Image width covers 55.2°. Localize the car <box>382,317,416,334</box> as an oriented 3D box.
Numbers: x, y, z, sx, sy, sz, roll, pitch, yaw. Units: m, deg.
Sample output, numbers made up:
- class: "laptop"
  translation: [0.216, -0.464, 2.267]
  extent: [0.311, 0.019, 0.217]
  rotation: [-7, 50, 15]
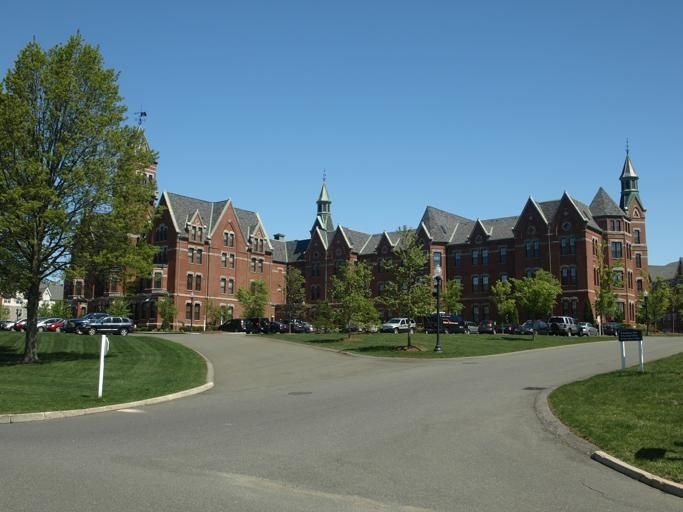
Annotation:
- class: "car"
  translation: [4.843, 6.522, 61.099]
  extent: [3.684, 1.566, 2.006]
  rotation: [13, -17, -43]
